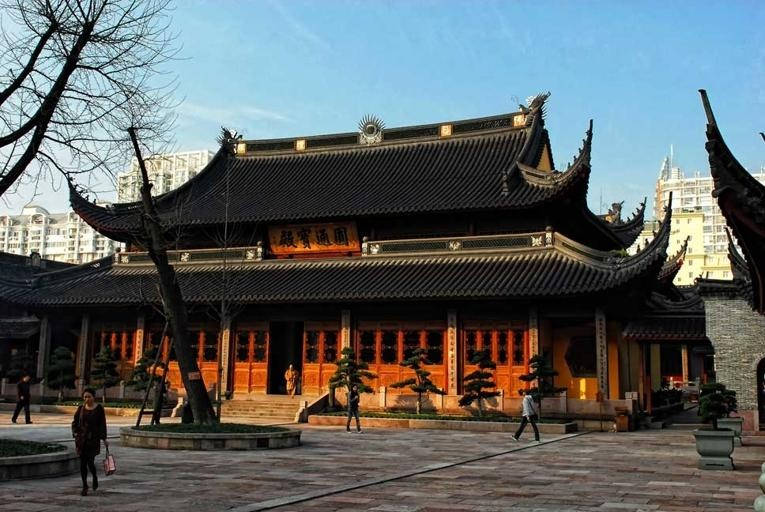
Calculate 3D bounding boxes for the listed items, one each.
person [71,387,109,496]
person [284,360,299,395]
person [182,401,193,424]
[{"bbox_3d":[-6.555,4.184,17.102,0.619,2.312,0.611,-5,-12,20],"label":"person"},{"bbox_3d":[-4.032,5.582,34.021,0.560,1.341,0.619,0,-11,-3],"label":"person"},{"bbox_3d":[-6.122,4.983,24.171,0.331,0.687,1.157,2,-11,-16],"label":"person"}]
